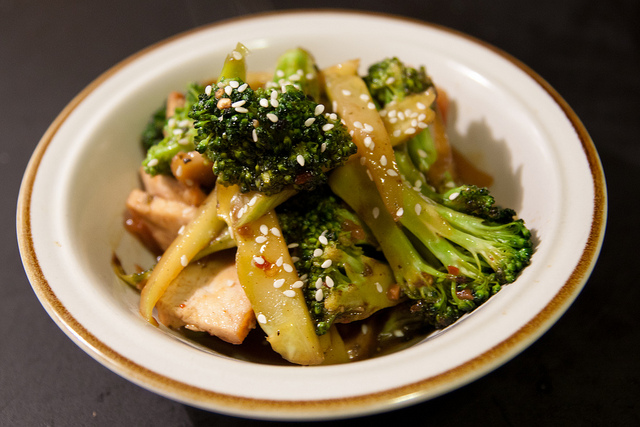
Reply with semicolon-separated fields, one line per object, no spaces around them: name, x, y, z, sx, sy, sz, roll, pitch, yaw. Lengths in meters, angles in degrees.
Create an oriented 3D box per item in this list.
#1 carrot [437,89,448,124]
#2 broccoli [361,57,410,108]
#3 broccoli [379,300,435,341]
carrot;0.847;-0.761;4.094;0.102;0.041;0.176;-11;102;-35
broccoli;0.443;-0.862;3.991;0.315;0.126;0.312;-13;66;18
broccoli;0.521;0.635;3.523;0.270;0.071;0.267;11;72;9
